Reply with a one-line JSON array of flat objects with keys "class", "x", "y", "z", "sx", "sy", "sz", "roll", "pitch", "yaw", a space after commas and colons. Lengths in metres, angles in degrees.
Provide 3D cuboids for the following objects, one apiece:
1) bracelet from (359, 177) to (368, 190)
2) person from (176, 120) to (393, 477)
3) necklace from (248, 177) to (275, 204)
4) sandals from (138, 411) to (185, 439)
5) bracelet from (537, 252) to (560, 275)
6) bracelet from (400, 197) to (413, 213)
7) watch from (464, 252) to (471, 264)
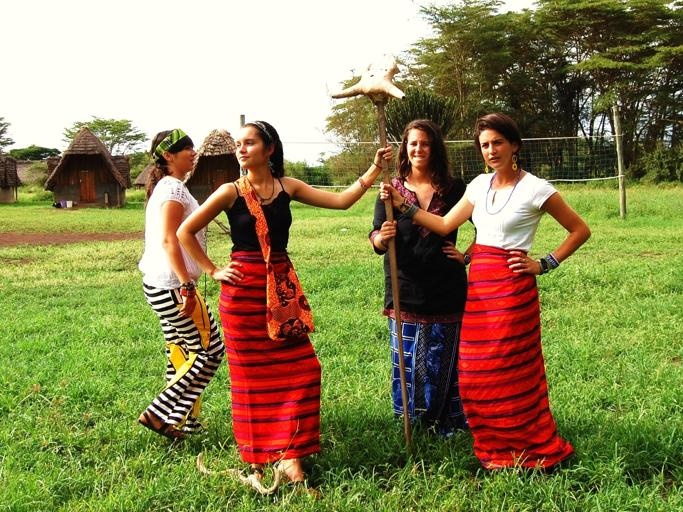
[{"class": "bracelet", "x": 0.165, "y": -0.548, "z": 4.615, "sx": 0.030, "sy": 0.078, "sz": 0.069, "roll": -35, "pitch": -25, "yaw": -6}, {"class": "person", "x": -0.489, "y": 0.308, "z": 4.313, "sx": 1.182, "sy": 2.452, "sz": 0.745, "roll": -5, "pitch": 12, "yaw": -18}, {"class": "necklace", "x": -0.572, "y": -0.480, "z": 4.410, "sx": 0.201, "sy": 0.194, "sz": 0.062, "roll": -24, "pitch": -4, "yaw": -29}, {"class": "sandals", "x": -1.402, "y": 1.321, "z": 4.709, "sx": 0.405, "sy": 0.110, "sz": 0.154, "roll": 32, "pitch": 27, "yaw": -38}, {"class": "bracelet", "x": 1.467, "y": 0.051, "z": 4.355, "sx": 0.119, "sy": 0.082, "sz": 0.159, "roll": 6, "pitch": -5, "yaw": -2}, {"class": "bracelet", "x": 0.490, "y": -0.377, "z": 4.477, "sx": 0.081, "sy": 0.065, "sz": 0.108, "roll": 38, "pitch": 1, "yaw": -10}, {"class": "watch", "x": 0.986, "y": 0.016, "z": 4.747, "sx": 0.055, "sy": 0.072, "sz": 0.077, "roll": -2, "pitch": 18, "yaw": 2}]
